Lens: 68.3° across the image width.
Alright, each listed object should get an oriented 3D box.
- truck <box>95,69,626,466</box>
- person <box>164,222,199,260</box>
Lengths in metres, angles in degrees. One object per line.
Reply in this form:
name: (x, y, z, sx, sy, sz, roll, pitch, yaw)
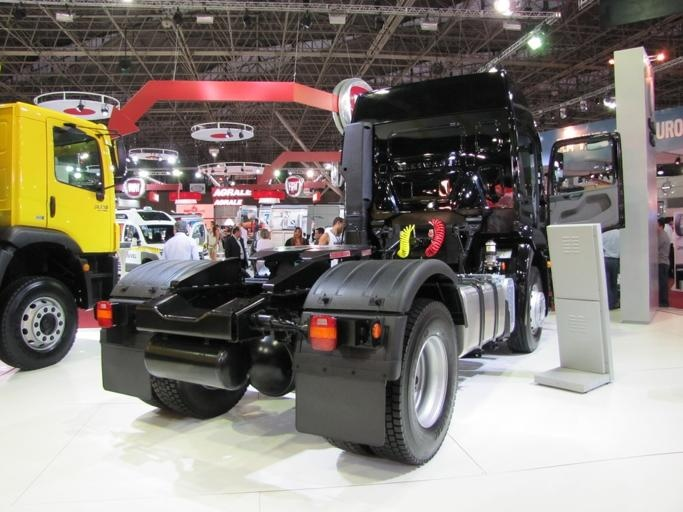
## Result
truck: (0.659, -0.344, 5.509, 3.320, 2.860, 5.229, 2, 6, 32)
person: (-2.843, -0.242, 8.904, 0.530, 1.002, 0.758, 2, -40, -18)
